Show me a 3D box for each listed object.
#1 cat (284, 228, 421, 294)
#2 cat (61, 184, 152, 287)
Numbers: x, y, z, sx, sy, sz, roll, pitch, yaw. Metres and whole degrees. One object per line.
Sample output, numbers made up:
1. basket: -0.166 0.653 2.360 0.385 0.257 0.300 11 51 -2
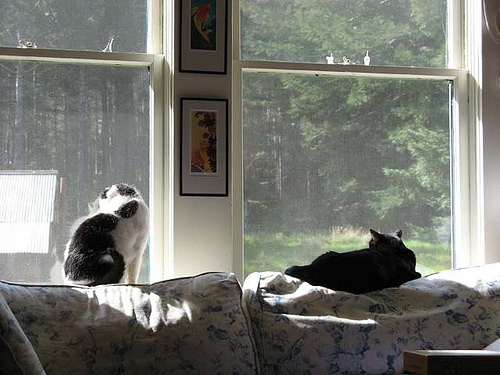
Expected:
1. cat: 0.611 0.380 4.007 0.561 0.266 0.333 -10 8 -27
2. cat: -0.778 0.223 4.105 0.324 0.551 0.565 11 22 29
